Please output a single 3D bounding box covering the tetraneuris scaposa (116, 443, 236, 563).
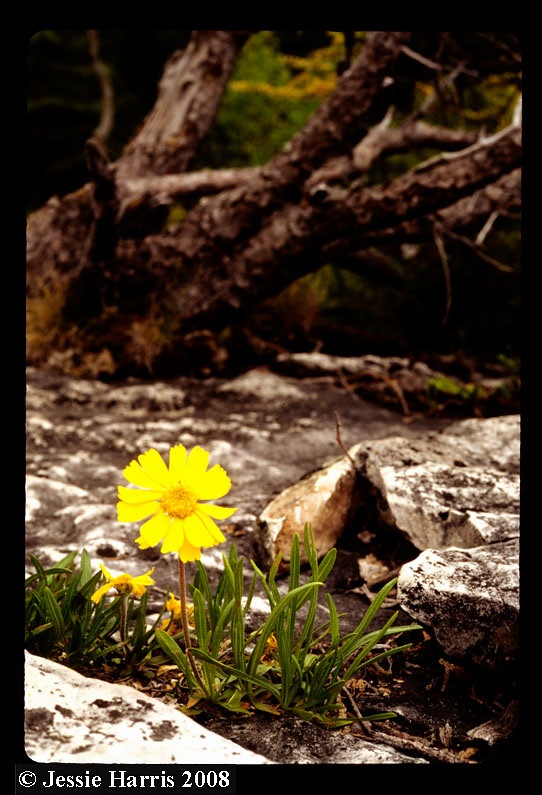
[{"bbox_3d":[-0.173,0.187,1.622,0.236,0.218,0.082,-8,-29,-22],"label":"tetraneuris scaposa"}]

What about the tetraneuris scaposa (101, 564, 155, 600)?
[{"bbox_3d":[-0.298,0.377,1.810,0.102,0.070,0.150,2,0,-11],"label":"tetraneuris scaposa"}]

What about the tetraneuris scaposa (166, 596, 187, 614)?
[{"bbox_3d":[-0.200,0.428,1.878,0.035,0.041,0.021,-1,7,33],"label":"tetraneuris scaposa"}]
